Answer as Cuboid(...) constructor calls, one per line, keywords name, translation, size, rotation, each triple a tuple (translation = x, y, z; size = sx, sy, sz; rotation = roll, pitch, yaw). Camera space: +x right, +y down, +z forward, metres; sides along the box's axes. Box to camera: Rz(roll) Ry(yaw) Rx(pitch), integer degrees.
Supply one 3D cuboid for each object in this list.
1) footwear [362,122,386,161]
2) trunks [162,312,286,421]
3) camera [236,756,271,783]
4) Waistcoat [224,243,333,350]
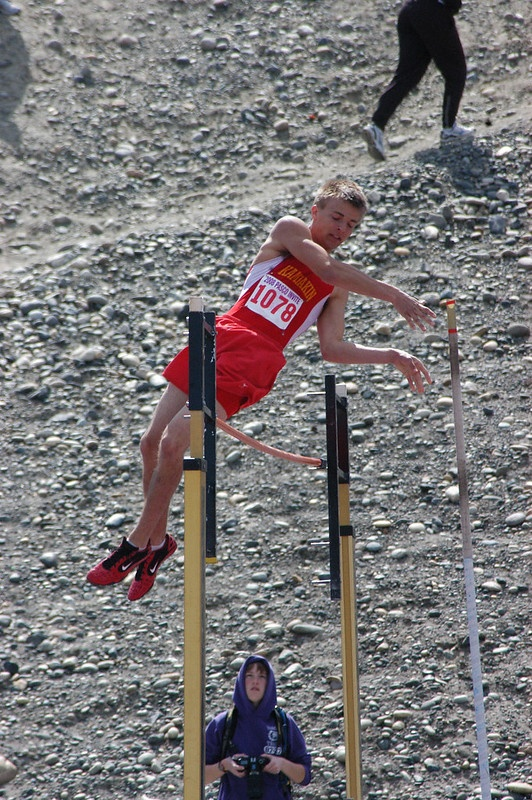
Cuboid(name="footwear", translation=(0.936, -2.135, 14.931), size=(0.134, 0.376, 0.167), rotation=(8, 51, 37))
Cuboid(name="trunks", translation=(-0.219, -0.192, 11.304), size=(0.638, 0.397, 0.559), rotation=(36, 73, 10))
Cuboid(name="camera", translation=(-0.078, 2.246, 10.936), size=(0.203, 0.058, 0.126), rotation=(2, 77, 1))
Cuboid(name="Waistcoat", translation=(0.027, -0.591, 11.457), size=(0.590, 0.434, 0.769), rotation=(31, 48, -11))
